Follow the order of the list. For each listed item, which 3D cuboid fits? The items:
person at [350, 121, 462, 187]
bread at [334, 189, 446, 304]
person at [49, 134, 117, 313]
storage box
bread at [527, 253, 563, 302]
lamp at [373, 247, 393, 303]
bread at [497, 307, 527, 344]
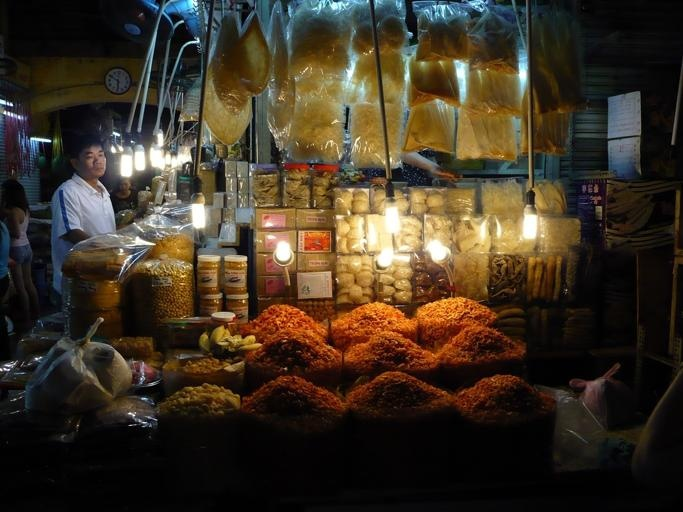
[{"bbox_3d":[0.523,-0.619,3.991,0.909,0.390,0.574,-2,-10,-18],"label":"person"},{"bbox_3d":[0.242,-0.059,3.267,0.702,0.672,0.172,1,-2,-15],"label":"bread"},{"bbox_3d":[-2.076,-0.294,4.339,0.410,1.284,0.719,0,2,-11],"label":"person"},{"bbox_3d":[-0.269,-0.012,3.080,0.477,0.482,0.269,-3,3,-11],"label":"storage box"},{"bbox_3d":[1.304,0.140,3.537,0.230,0.295,0.087,3,1,-7],"label":"bread"},{"bbox_3d":[0.238,0.123,3.106,0.118,0.330,0.361,0,2,5],"label":"lamp"},{"bbox_3d":[1.101,0.433,3.481,0.255,0.208,0.126,-1,2,-27],"label":"bread"}]
